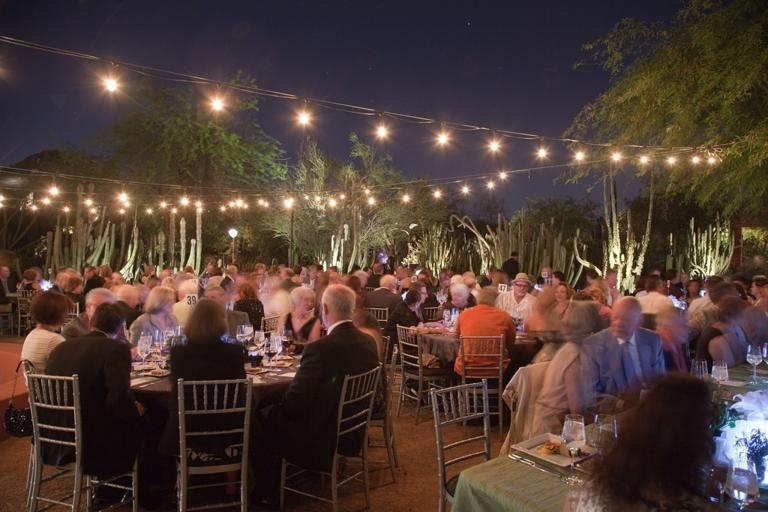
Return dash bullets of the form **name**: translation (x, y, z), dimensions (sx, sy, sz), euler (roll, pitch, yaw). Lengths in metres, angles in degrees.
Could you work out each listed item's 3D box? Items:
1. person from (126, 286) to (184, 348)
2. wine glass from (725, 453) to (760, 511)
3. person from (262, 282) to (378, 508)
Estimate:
- **person**: translation (-3.470, 0.935, 8.625), dimensions (0.476, 1.489, 0.817), euler (1, 2, 9)
- **wine glass**: translation (3.303, 2.053, 5.206), dimensions (0.364, 0.521, 0.181), euler (2, -3, -20)
- **person**: translation (-0.850, 1.742, 7.048), dimensions (1.512, 2.789, 0.604), euler (1, -3, -2)
